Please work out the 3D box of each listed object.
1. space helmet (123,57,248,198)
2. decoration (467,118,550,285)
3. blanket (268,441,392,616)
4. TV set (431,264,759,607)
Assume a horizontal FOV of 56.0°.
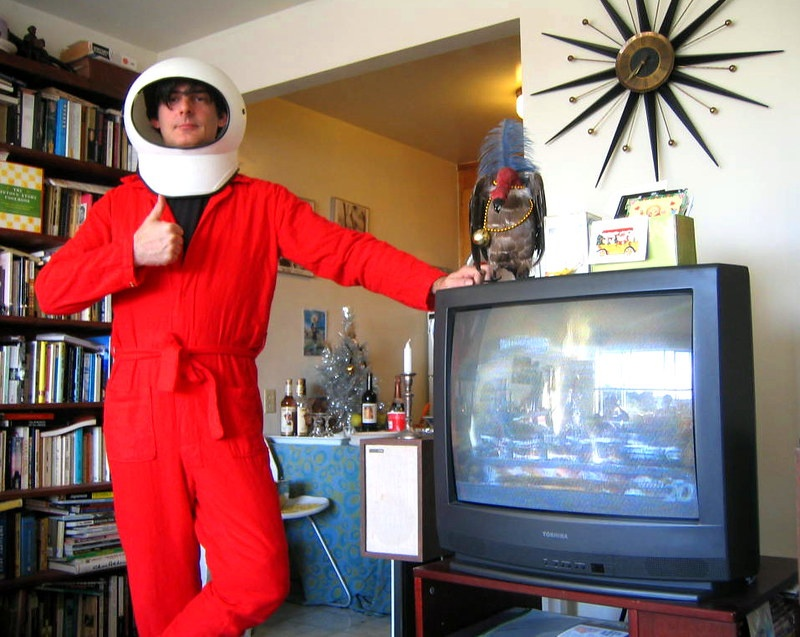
[{"bbox_3d":[-0.588,-0.510,2.278,0.316,0.414,0.405,-1,-14,-7],"label":"space helmet"},{"bbox_3d":[0.282,-0.327,2.075,0.235,0.454,0.210,0,-3,21],"label":"decoration"},{"bbox_3d":[-0.283,0.936,4.002,0.672,0.823,0.709,3,7,1],"label":"blanket"},{"bbox_3d":[0.465,0.233,2.187,1.060,1.088,0.671,-4,-5,31],"label":"TV set"}]
